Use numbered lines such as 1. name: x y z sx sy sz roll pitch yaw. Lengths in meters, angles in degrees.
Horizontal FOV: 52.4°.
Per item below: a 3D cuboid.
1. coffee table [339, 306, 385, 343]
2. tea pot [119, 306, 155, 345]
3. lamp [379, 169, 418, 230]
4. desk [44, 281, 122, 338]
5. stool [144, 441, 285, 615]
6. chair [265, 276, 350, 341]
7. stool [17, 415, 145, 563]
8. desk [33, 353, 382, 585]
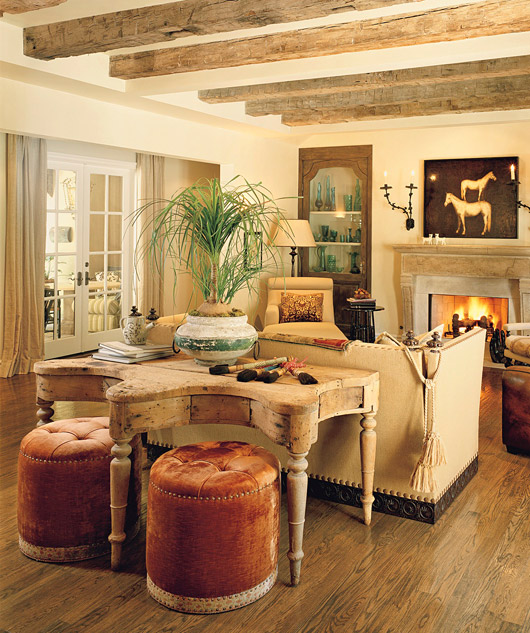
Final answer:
1. coffee table: 1.084 0.080 6.139 0.511 0.503 0.488 0 0 4
2. tea pot: -0.702 0.045 2.787 0.230 0.212 0.145 2 3 14
3. lamp: 1.623 -1.310 6.440 0.439 0.508 0.365 -7 -5 44
4. desk: -2.142 -0.114 6.335 0.651 0.578 0.628 4 8 17
5. stool: -0.190 0.698 1.871 0.431 0.418 0.463 0 -1 28
6. chair: 0.483 -0.131 5.931 0.661 0.858 0.868 0 -2 -2
7. stool: -0.737 0.666 2.229 0.507 0.466 0.524 -1 9 -7
8. desk: -0.077 0.415 2.108 1.202 0.546 0.855 2 4 30
